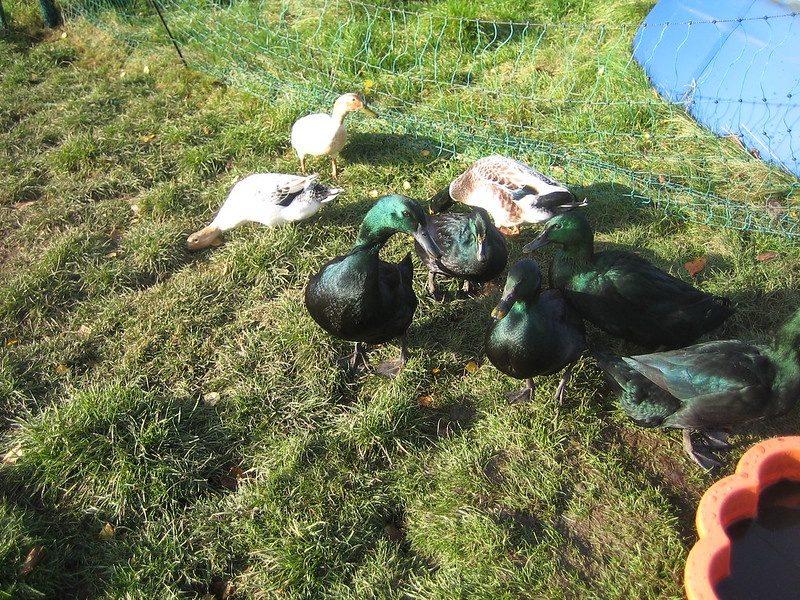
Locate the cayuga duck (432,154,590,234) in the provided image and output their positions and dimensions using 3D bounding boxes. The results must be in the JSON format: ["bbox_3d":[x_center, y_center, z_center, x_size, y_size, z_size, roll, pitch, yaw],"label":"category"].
[{"bbox_3d":[1.053,-1.019,7.448,1.705,0.700,0.563,12,8,24],"label":"cayuga duck"}]

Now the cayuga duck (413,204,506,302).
[{"bbox_3d":[0.562,-0.446,6.696,0.494,0.639,0.932,-15,70,-10],"label":"cayuga duck"}]
